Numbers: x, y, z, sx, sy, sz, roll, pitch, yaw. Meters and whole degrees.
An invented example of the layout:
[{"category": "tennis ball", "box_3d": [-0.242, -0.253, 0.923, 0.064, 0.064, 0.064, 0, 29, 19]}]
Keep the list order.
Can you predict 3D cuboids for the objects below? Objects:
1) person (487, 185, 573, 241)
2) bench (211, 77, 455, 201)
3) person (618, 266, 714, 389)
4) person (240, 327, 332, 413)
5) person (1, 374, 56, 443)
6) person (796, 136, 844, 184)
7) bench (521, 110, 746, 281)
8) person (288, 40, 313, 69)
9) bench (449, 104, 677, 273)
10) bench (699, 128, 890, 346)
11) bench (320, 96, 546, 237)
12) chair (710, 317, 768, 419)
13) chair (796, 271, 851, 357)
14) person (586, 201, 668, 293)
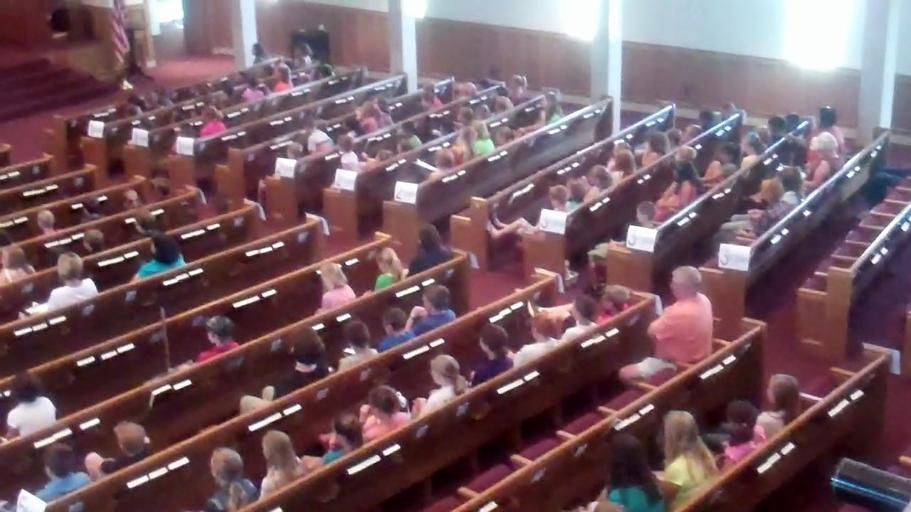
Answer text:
[{"category": "person", "box_3d": [1.050, -0.656, 10.705, 1.445, 0.854, 0.604, 5, 25, 26]}, {"category": "bench", "box_3d": [-2.252, -2.070, 13.046, 0.573, 0.847, 3.252, 35, 51, 28]}, {"category": "person", "box_3d": [2.433, 0.738, 8.487, 0.971, 1.245, 1.282, 6, 22, 27]}, {"category": "person", "box_3d": [-1.822, 1.263, 7.789, 0.467, 0.963, 0.540, -26, 60, -41]}, {"category": "person", "box_3d": [-4.316, 1.567, 7.305, 0.404, 0.827, 0.452, -8, 47, -23]}, {"category": "person", "box_3d": [5.730, -1.511, 11.339, 0.526, 0.856, 0.459, -26, 48, -13]}, {"category": "bench", "box_3d": [2.725, -0.871, 10.981, 0.551, 0.853, 3.491, 33, 57, 31]}, {"category": "person", "box_3d": [-3.541, -4.670, 16.686, 0.412, 0.504, 1.088, -6, 21, -13]}, {"category": "bench", "box_3d": [1.626, -1.006, 11.305, 0.574, 0.824, 3.333, 29, 49, 32]}, {"category": "bench", "box_3d": [4.715, -0.195, 10.078, 3.549, 1.086, 0.693, -39, 52, -23]}, {"category": "bench", "box_3d": [-0.330, -1.442, 12.035, 2.961, 1.038, 0.757, -35, 55, -27]}, {"category": "chair", "box_3d": [3.158, 1.280, 8.033, 0.885, 0.506, 0.366, -35, 42, -29]}, {"category": "chair", "box_3d": [4.610, 0.775, 9.033, 0.339, 0.738, 0.884, 15, 26, 39]}, {"category": "person", "box_3d": [2.336, -0.299, 10.371, 0.848, 1.304, 1.409, 7, 39, 1]}]
